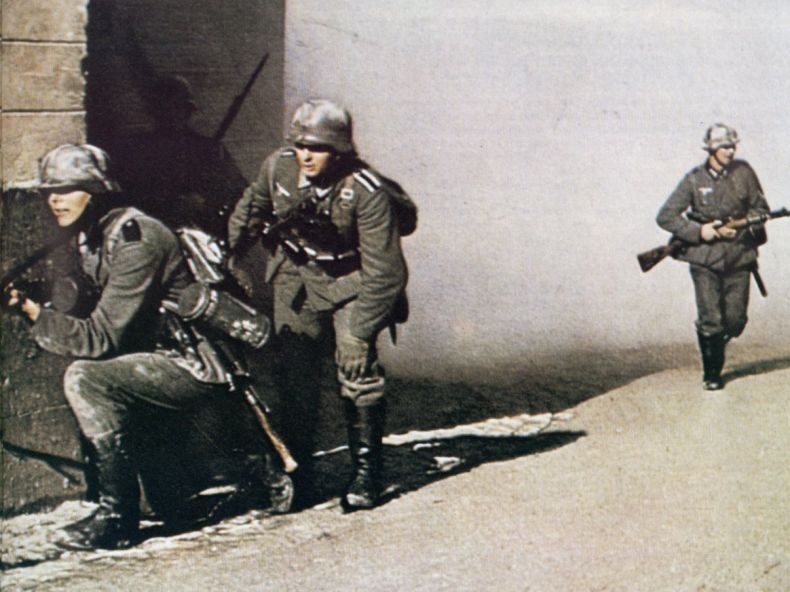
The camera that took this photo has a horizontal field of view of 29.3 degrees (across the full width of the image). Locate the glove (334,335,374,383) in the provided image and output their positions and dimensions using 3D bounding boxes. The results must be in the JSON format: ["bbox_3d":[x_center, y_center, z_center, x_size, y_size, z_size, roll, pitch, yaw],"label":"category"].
[{"bbox_3d":[-0.218,0.384,8.395,0.184,0.106,0.267,10,18,1],"label":"glove"}]

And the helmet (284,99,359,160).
[{"bbox_3d":[-0.390,-0.957,8.284,0.397,0.243,0.372,-4,13,-39],"label":"helmet"}]

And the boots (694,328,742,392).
[{"bbox_3d":[1.808,0.374,8.566,0.192,0.322,0.079,-4,13,-16],"label":"boots"}]

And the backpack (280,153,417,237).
[{"bbox_3d":[-0.259,-0.569,8.355,0.539,0.469,0.366,-20,26,-15],"label":"backpack"}]

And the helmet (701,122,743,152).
[{"bbox_3d":[1.828,-0.884,8.516,0.197,0.147,0.137,-14,19,-8],"label":"helmet"}]

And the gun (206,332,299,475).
[{"bbox_3d":[-0.807,0.582,8.304,0.146,0.836,0.157,-34,4,22],"label":"gun"}]
